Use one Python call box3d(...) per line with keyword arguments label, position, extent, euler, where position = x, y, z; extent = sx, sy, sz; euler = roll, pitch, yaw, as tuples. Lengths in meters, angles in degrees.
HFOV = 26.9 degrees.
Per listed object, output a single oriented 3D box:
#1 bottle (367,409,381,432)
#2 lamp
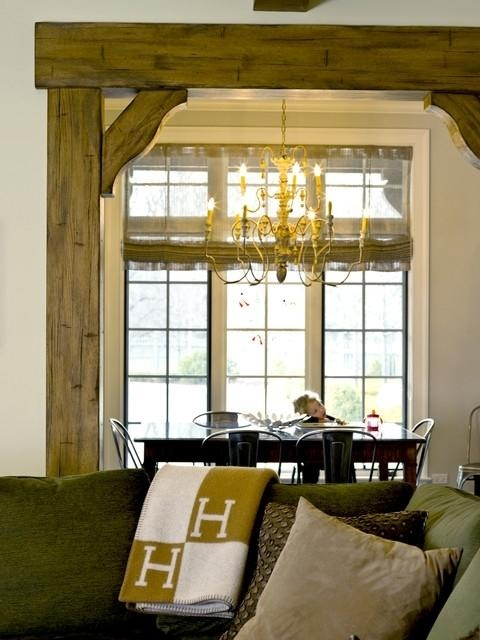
box3d(label="bottle", position=(0.652, 0.505, 4.930), extent=(0.060, 0.105, 0.065), euler=(0, 0, 0))
box3d(label="lamp", position=(0.231, -0.675, 5.442), extent=(0.670, 0.968, 0.760), euler=(-1, -1, 8))
